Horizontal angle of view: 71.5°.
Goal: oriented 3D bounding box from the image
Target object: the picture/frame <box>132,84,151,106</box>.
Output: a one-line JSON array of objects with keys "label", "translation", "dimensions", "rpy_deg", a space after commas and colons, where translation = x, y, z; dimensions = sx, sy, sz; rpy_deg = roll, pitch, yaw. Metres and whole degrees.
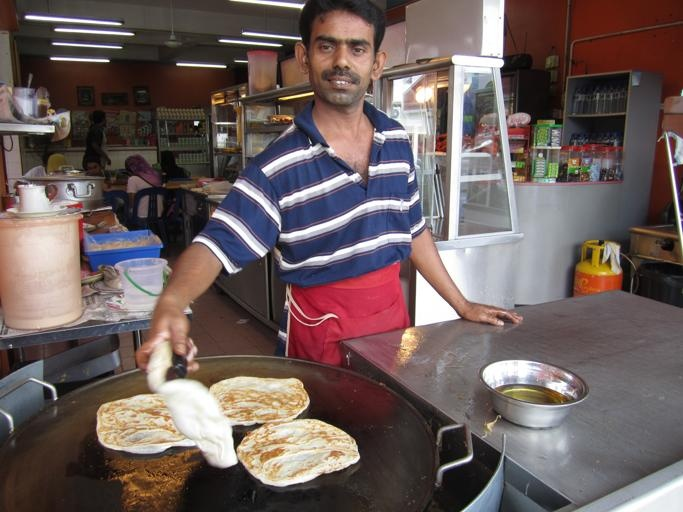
[{"label": "picture/frame", "translation": [-5.188, -4.163, 12.246], "dimensions": [0.584, 0.671, 0.046], "rpy_deg": [-3, 6, -15]}]

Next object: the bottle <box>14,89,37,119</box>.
[{"label": "bottle", "translation": [-1.477, -0.713, 2.216], "dimensions": [0.080, 0.130, 0.103], "rpy_deg": [-7, 14, -23]}]

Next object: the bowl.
[{"label": "bowl", "translation": [0.450, 0.328, 1.142], "dimensions": [0.237, 0.087, 0.233], "rpy_deg": [-1, 12, 0]}]

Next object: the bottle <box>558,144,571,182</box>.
[{"label": "bottle", "translation": [2.211, -0.915, 4.721], "dimensions": [0.093, 0.335, 0.197], "rpy_deg": [5, 15, 25]}]

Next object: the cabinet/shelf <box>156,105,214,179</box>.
[{"label": "cabinet/shelf", "translation": [-3.691, -2.460, 11.127], "dimensions": [1.081, 1.840, 0.696], "rpy_deg": [-3, 10, -17]}]

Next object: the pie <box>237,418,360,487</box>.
[{"label": "pie", "translation": [-0.116, 0.463, 1.164], "dimensions": [0.273, 0.048, 0.238], "rpy_deg": [-5, 13, -17]}]

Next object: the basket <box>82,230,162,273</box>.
[{"label": "basket", "translation": [-1.094, -0.075, 2.338], "dimensions": [0.278, 0.078, 0.274], "rpy_deg": [-6, 12, -34]}]

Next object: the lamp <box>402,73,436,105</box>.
[{"label": "lamp", "translation": [0.517, -1.084, 3.117], "dimensions": [0.068, 0.140, 0.187], "rpy_deg": [-9, 33, -39]}]

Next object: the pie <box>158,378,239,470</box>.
[{"label": "pie", "translation": [-0.335, 0.383, 1.106], "dimensions": [0.122, 0.224, 0.068], "rpy_deg": [-46, 19, -30]}]

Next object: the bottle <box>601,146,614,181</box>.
[{"label": "bottle", "translation": [2.799, -0.979, 5.001], "dimensions": [0.108, 0.334, 0.152], "rpy_deg": [6, 15, 29]}]

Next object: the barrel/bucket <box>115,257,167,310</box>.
[{"label": "barrel/bucket", "translation": [-0.850, 0.129, 2.009], "dimensions": [0.270, 0.212, 0.280], "rpy_deg": [0, -2, 0]}]

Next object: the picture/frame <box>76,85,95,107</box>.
[{"label": "picture/frame", "translation": [-6.384, -4.001, 11.804], "dimensions": [0.588, 0.635, 0.054], "rpy_deg": [-1, 8, -11]}]

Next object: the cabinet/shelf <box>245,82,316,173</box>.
[{"label": "cabinet/shelf", "translation": [-0.745, -1.297, 5.322], "dimensions": [0.430, 0.956, 1.073], "rpy_deg": [-9, 18, -31]}]
